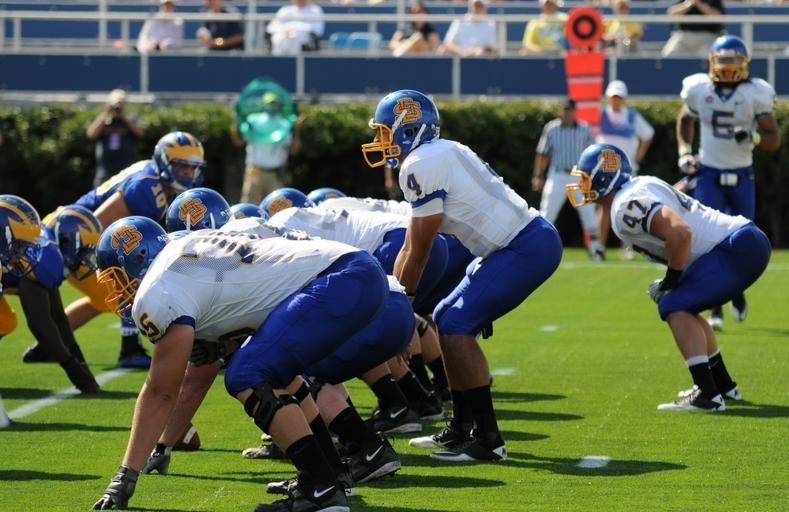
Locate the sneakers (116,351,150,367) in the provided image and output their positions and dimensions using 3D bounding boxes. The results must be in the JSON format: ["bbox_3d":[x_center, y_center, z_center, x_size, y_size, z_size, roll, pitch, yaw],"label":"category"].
[{"bbox_3d":[-2.350,0.923,11.276,0.406,0.175,0.137,0,-1,3],"label":"sneakers"}]

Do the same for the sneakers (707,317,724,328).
[{"bbox_3d":[3.002,0.626,11.861,0.149,0.151,0.151,1,7,24],"label":"sneakers"}]

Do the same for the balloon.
[{"bbox_3d":[-1.515,-1.740,15.444,0.755,0.791,0.783,8,2,-10],"label":"balloon"}]

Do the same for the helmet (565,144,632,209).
[{"bbox_3d":[1.648,-0.650,10.075,0.549,0.486,0.448,-5,2,15],"label":"helmet"}]

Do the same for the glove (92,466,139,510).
[{"bbox_3d":[-1.840,1.587,8.525,0.212,0.359,0.152,30,18,2],"label":"glove"}]

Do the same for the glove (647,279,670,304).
[{"bbox_3d":[2.089,0.287,10.068,0.138,0.177,0.076,12,-3,17],"label":"glove"}]

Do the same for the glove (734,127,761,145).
[{"bbox_3d":[3.199,-1.090,11.502,0.232,0.167,0.155,3,12,15],"label":"glove"}]

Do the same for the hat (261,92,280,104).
[{"bbox_3d":[-1.471,-1.892,15.200,0.191,0.146,0.211,-2,12,-7],"label":"hat"}]

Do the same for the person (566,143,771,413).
[{"bbox_3d":[2.201,0.142,10.032,1.438,2.021,0.708,3,13,16],"label":"person"}]

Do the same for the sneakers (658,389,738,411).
[{"bbox_3d":[2.337,1.111,9.961,0.539,0.162,0.228,1,12,7],"label":"sneakers"}]

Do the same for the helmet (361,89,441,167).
[{"bbox_3d":[0.060,-0.962,9.521,0.619,0.568,0.484,-5,7,-4],"label":"helmet"}]

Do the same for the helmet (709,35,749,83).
[{"bbox_3d":[2.992,-1.749,11.337,0.344,0.425,0.286,2,12,13],"label":"helmet"}]

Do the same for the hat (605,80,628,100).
[{"bbox_3d":[2.847,-2.102,16.161,0.305,0.173,0.473,5,8,8],"label":"hat"}]
